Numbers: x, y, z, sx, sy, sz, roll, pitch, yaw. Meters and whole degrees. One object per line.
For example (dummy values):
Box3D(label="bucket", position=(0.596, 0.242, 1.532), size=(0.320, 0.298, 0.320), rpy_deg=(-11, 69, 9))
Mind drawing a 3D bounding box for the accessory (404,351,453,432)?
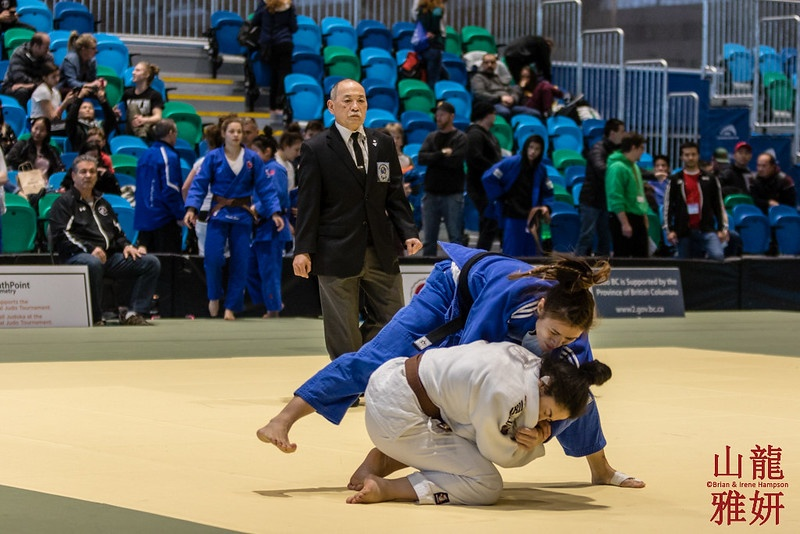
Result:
Box3D(label="accessory", position=(0.195, 0.855, 7.128), size=(0.101, 0.453, 0.394), rpy_deg=(-26, 2, 14))

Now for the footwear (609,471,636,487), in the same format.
Box3D(label="footwear", position=(1.564, 1.482, 7.404), size=(0.147, 0.064, 0.085), rpy_deg=(0, 9, 20))

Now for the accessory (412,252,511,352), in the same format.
Box3D(label="accessory", position=(0.439, 0.299, 7.350), size=(0.108, 0.732, 0.423), rpy_deg=(29, 6, -37))

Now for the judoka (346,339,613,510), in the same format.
Box3D(label="judoka", position=(0.516, 0.948, 7.347), size=(1.442, 1.082, 1.101), rpy_deg=(3, 31, 1))

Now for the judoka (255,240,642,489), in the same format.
Box3D(label="judoka", position=(0.504, 0.564, 7.974), size=(2.818, 1.981, 1.371), rpy_deg=(4, 4, 14))
